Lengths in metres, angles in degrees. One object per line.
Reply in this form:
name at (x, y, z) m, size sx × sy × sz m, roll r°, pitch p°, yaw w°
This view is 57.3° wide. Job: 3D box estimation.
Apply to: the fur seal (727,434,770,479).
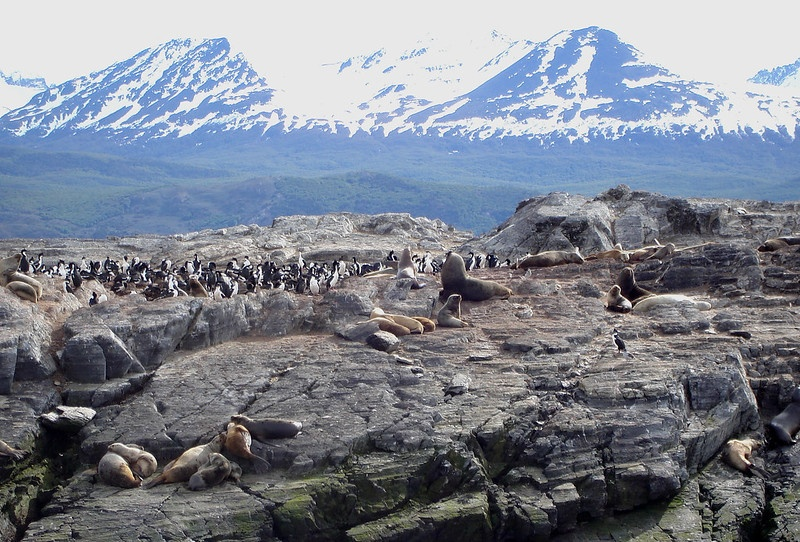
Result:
fur seal at (6.242, 3.350, 13.223) m, size 0.715 × 0.609 × 0.567 m, roll -1°, pitch -8°, yaw 13°
